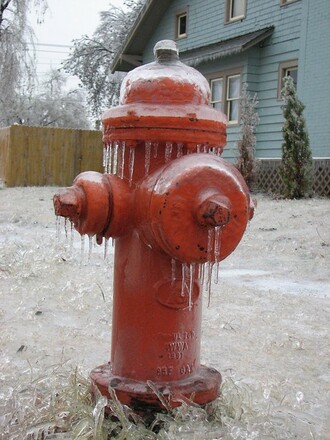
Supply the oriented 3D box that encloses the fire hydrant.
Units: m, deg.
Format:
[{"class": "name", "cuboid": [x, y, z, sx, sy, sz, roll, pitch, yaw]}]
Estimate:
[{"class": "fire hydrant", "cuboid": [-0.021, 0.010, 2.633, 0.746, 1.459, 0.485, 4, 9, 19]}]
